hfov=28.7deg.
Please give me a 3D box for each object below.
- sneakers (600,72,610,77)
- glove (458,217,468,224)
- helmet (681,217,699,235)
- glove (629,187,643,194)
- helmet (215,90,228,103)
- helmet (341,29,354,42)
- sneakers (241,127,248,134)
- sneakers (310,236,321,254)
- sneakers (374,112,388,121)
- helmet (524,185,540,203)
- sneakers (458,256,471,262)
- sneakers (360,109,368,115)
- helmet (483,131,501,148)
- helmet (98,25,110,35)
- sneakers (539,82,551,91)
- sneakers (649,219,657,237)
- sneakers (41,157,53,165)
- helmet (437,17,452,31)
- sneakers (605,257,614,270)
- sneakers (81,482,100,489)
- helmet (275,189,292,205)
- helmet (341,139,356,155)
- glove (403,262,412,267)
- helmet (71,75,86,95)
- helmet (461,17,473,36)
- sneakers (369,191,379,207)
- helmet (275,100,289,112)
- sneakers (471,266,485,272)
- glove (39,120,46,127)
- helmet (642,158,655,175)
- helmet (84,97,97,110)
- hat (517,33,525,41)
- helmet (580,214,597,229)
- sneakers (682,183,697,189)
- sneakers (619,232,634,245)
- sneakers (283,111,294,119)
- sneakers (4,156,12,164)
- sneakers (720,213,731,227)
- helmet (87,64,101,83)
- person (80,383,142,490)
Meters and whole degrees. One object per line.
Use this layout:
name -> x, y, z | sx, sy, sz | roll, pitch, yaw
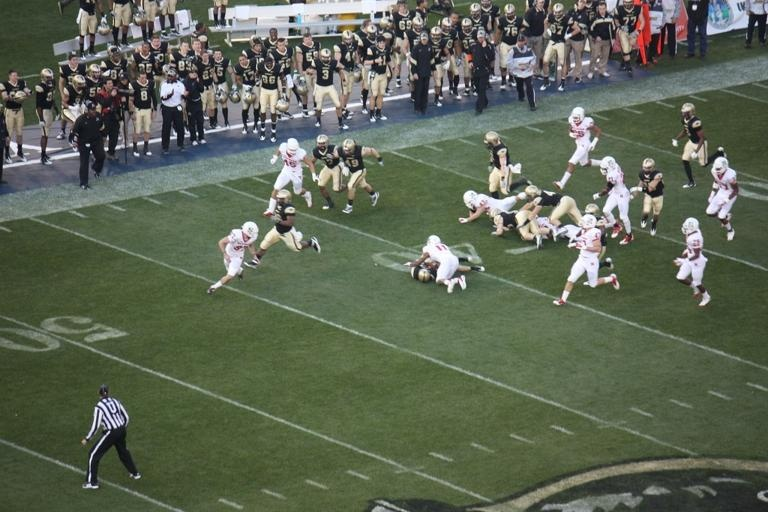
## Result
sneakers -> 5.666, -4.671, 38.636 | 0.228, 0.084, 0.116 | 18, 44, 29
glove -> 1.695, -0.748, 32.182 | 0.283, 0.116, 0.142 | 6, 14, 35
helmet -> 6.095, -0.614, 29.586 | 0.460, 0.325, 0.300 | -6, 29, -4
glove -> 5.205, -1.371, 31.491 | 0.226, 0.088, 0.183 | -3, 2, 39
helmet -> -3.811, -3.748, 35.484 | 0.257, 0.288, 0.290 | -10, -23, 8
helmet -> -0.846, -5.324, 36.267 | 0.307, 0.274, 0.357 | -5, 26, -12
sneakers -> -3.326, -2.991, 35.893 | 0.106, 0.172, 0.195 | 1, 26, -6
sneakers -> -1.416, -0.227, 30.859 | 0.149, 0.363, 0.177 | -13, 23, 44
sneakers -> -0.084, -3.380, 36.479 | 0.361, 0.103, 0.215 | -2, -27, -5
helmet -> 3.150, -1.335, 31.371 | 0.347, 0.296, 0.246 | 37, 70, 10
sneakers -> 1.620, 0.070, 30.431 | 0.143, 0.042, 0.132 | 32, 33, 26
sneakers -> -0.488, -3.553, 36.851 | 0.087, 0.071, 0.187 | -30, 35, -35
helmet -> 2.341, -2.508, 32.375 | 0.266, 0.273, 0.366 | -6, 12, -15
helmet -> -7.164, -5.832, 38.798 | 0.303, 0.182, 0.253 | -16, 37, -19
sneakers -> 4.065, -4.322, 38.145 | 0.136, 0.120, 0.303 | 8, 31, 40
sneakers -> 5.714, -0.602, 31.878 | 0.152, 0.356, 0.272 | 8, 1, 19
sneakers -> -7.612, -2.153, 34.041 | 0.227, 0.075, 0.125 | 16, 30, 33
helmet -> 1.528, -5.711, 36.929 | 0.313, 0.290, 0.343 | -7, 42, -12
sneakers -> 4.543, 0.164, 30.444 | 0.101, 0.220, 0.132 | -43, -4, -44
sneakers -> -5.088, 4.004, 26.064 | 0.283, 0.100, 0.098 | 2, 41, -6
helmet -> -2.019, -1.221, 30.465 | 0.369, 0.286, 0.256 | 5, 38, 1
helmet -> -0.794, -2.378, 32.194 | 0.299, 0.290, 0.318 | 7, 59, 9
glove -> 0.482, 0.172, 30.723 | 0.135, 0.106, 0.365 | -4, 11, -5
helmet -> -6.902, -3.883, 33.933 | 0.320, 0.440, 0.246 | -1, 12, 8
helmet -> 2.048, -5.713, 37.044 | 0.304, 0.301, 0.355 | -2, 45, 9
sneakers -> -0.228, -1.268, 32.782 | 0.174, 0.344, 0.128 | -31, 52, -34
helmet -> -2.401, -3.567, 35.463 | 0.269, 0.286, 0.253 | 2, -14, 3
sneakers -> 1.907, 0.258, 30.578 | 0.303, 0.091, 0.117 | 5, 15, 9
glove -> -7.677, -2.987, 33.942 | 0.180, 0.157, 0.147 | -1, 16, -34
helmet -> 5.507, -1.912, 31.462 | 0.216, 0.255, 0.426 | 0, 12, 13
helmet -> -6.496, -3.396, 33.365 | 0.275, 0.119, 0.391 | -16, 41, -19
hat -> 3.319, -5.346, 36.494 | 0.182, 0.193, 0.175 | -4, -10, 1
helmet -> 4.018, -0.682, 29.716 | 0.327, 0.254, 0.238 | 15, 18, 7
sneakers -> 6.778, -1.568, 33.516 | 0.330, 0.094, 0.115 | 0, -26, 13
sneakers -> 5.072, -0.362, 31.662 | 0.152, 0.145, 0.387 | 7, 31, 41
sneakers -> -2.331, -3.432, 36.616 | 0.320, 0.154, 0.104 | 1, 31, -4
sneakers -> -8.463, -2.170, 34.032 | 0.274, 0.092, 0.092 | 15, 28, 38
sneakers -> 7.205, -0.746, 31.681 | 0.123, 0.278, 0.222 | 9, 43, -37
helmet -> -6.550, -4.127, 34.006 | 0.318, 0.426, 0.380 | -5, 12, -10
person -> -4.854, 3.098, 26.371 | 1.005, 1.741, 0.974 | -5, 12, -10
